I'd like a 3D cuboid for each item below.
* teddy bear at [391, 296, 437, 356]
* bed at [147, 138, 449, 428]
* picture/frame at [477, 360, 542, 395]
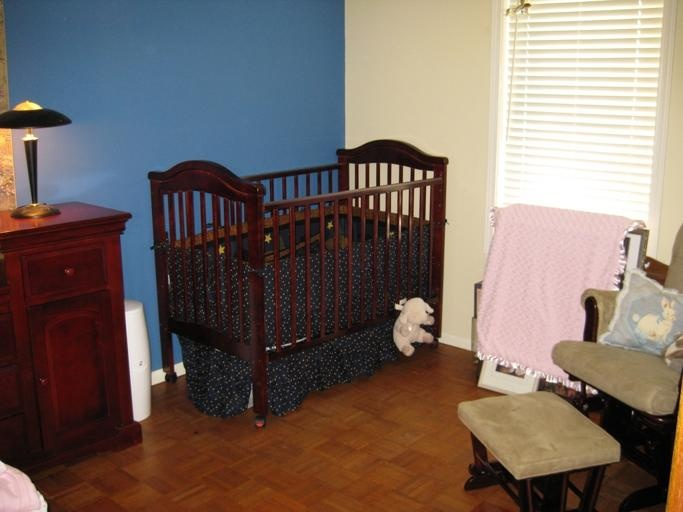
[{"bbox_3d":[0.464,0.435,3.695,0.274,0.346,0.235,-16,30,-31],"label":"teddy bear"},{"bbox_3d":[-0.177,0.013,3.747,0.946,1.516,1.698,11,16,43],"label":"bed"},{"bbox_3d":[0.983,0.730,3.392,0.347,0.167,0.103,8,18,29],"label":"picture/frame"}]
